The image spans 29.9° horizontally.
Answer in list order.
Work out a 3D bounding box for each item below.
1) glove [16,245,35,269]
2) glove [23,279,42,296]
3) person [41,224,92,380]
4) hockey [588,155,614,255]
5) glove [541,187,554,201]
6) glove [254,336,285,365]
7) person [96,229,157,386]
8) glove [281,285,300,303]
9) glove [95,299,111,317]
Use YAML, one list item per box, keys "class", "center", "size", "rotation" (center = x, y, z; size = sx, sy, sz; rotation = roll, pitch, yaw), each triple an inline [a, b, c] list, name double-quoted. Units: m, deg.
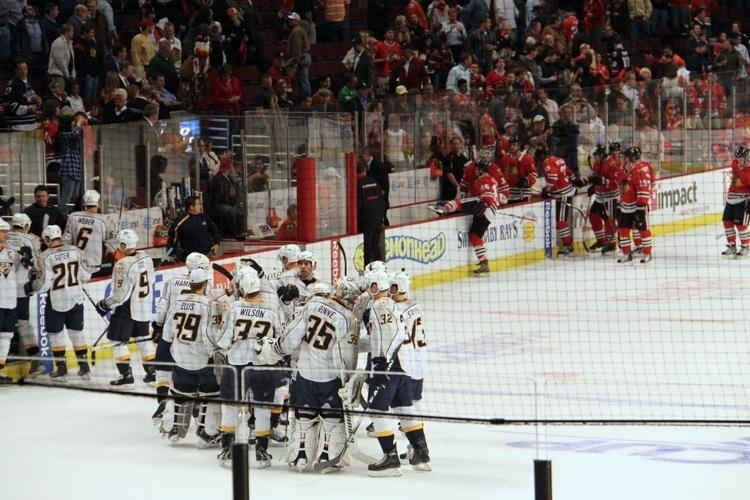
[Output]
- class: "glove"
  center: [-5.372, 0.108, 21.752]
  size: [0.211, 0.327, 0.117]
  rotation: [-4, -1, -21]
- class: "glove"
  center: [-5.268, 0.569, 21.773]
  size: [0.313, 0.235, 0.095]
  rotation: [-2, -2, 20]
- class: "person"
  center: [-4.902, 0.778, 22.117]
  size: [0.804, 2.326, 0.710]
  rotation: [-7, 13, -31]
- class: "hockey"
  center: [4.799, -1.013, 29.397]
  size: [0.554, 2.013, 0.528]
  rotation: [9, 2, 31]
- class: "glove"
  center: [3.617, -1.137, 29.069]
  size: [0.251, 0.238, 0.202]
  rotation: [-13, 22, -41]
- class: "glove"
  center: [-1.441, 1.348, 19.254]
  size: [0.397, 0.393, 0.306]
  rotation: [-14, 14, -8]
- class: "person"
  center: [-3.854, 0.892, 22.046]
  size: [0.791, 2.377, 0.990]
  rotation: [-1, -2, -10]
- class: "glove"
  center: [-1.190, 0.629, 20.235]
  size: [0.195, 0.269, 0.085]
  rotation: [5, -35, -4]
- class: "glove"
  center: [-4.207, 0.920, 21.882]
  size: [0.254, 0.240, 0.255]
  rotation: [-2, 16, -13]
